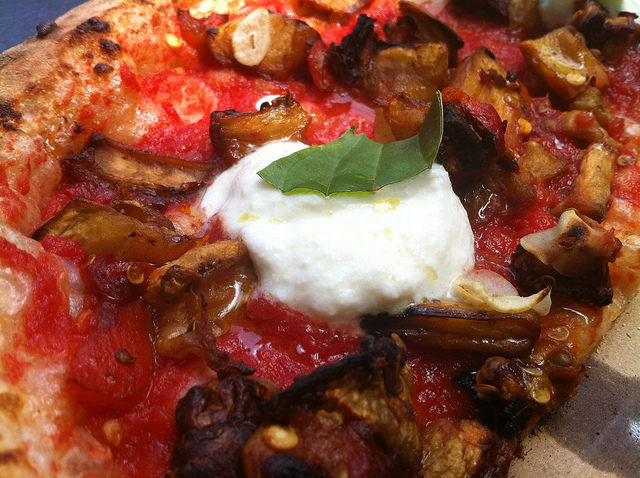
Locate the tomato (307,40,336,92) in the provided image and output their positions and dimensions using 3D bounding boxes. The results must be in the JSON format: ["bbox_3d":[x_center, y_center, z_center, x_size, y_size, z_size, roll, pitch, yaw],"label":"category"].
[{"bbox_3d":[0.025,-1.170,5.721,0.192,0.077,0.320,-10,97,-46],"label":"tomato"}]
